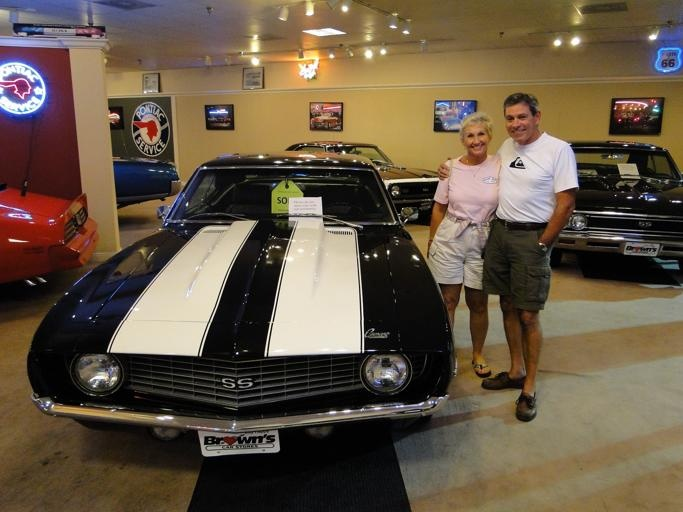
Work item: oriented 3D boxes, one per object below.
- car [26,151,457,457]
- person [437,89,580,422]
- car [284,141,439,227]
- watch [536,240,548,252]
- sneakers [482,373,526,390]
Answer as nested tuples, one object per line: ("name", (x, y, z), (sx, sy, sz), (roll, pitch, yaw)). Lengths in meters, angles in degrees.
("car", (-0.408, 0.085, 2.696), (2.034, 1.222, 1.949), (1, 18, 7))
("person", (1.107, 0.007, 2.755), (0.478, 1.917, 0.731), (8, 23, 25))
("car", (0.875, -1.396, 8.277), (1.639, 1.004, 3.599), (-7, 16, -27))
("watch", (1.193, -0.056, 2.670), (0.056, 0.062, 0.044), (-9, -4, 34))
("sneakers", (1.135, 0.856, 3.078), (0.323, 0.096, 0.105), (0, -1, -1))
